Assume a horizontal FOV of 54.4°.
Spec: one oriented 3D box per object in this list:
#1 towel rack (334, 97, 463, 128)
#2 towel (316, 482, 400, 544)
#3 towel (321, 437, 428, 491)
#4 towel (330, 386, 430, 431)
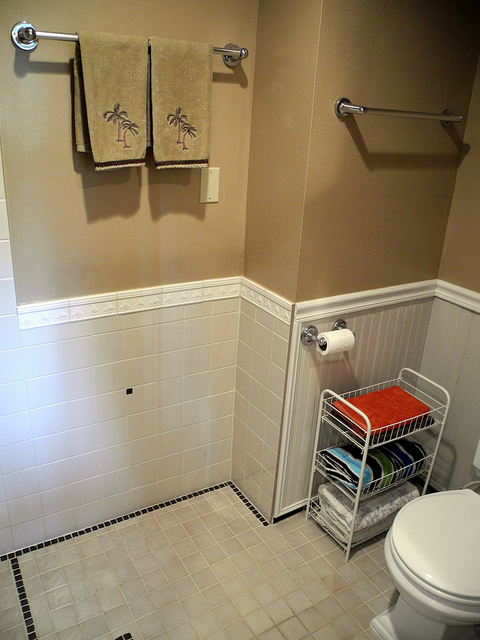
[{"bbox_3d":[0.532,-0.652,1.477,0.563,0.065,0.132,-15,32,-35],"label":"towel rack"},{"bbox_3d":[0.475,0.723,1.828,0.250,0.095,0.195,-13,26,-37],"label":"towel"},{"bbox_3d":[0.512,0.509,1.738,0.287,0.098,0.191,-11,28,-33],"label":"towel"},{"bbox_3d":[0.534,0.318,1.717,0.208,0.047,0.156,-14,34,-28],"label":"towel"}]
